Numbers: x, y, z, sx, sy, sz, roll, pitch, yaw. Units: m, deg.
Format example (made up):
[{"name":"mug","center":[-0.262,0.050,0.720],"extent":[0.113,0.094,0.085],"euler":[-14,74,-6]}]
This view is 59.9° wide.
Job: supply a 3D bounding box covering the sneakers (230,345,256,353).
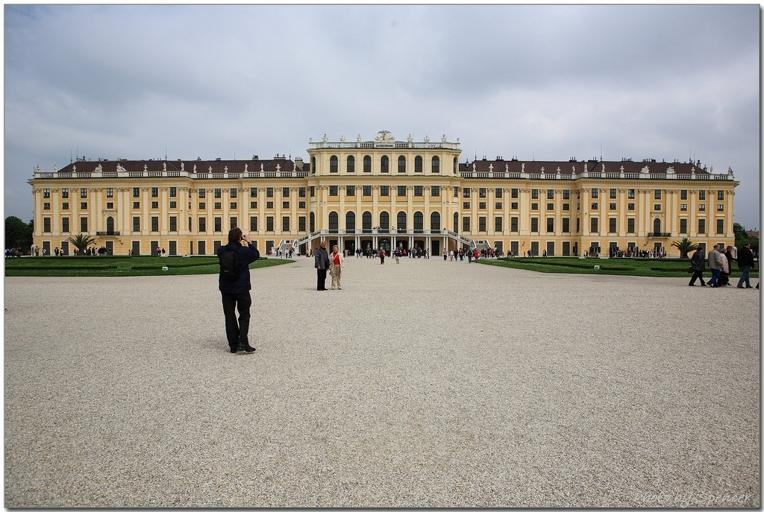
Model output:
[{"name":"sneakers","center":[-2.731,1.817,12.860],"extent":[0.475,0.141,0.295],"euler":[0,2,15]}]
